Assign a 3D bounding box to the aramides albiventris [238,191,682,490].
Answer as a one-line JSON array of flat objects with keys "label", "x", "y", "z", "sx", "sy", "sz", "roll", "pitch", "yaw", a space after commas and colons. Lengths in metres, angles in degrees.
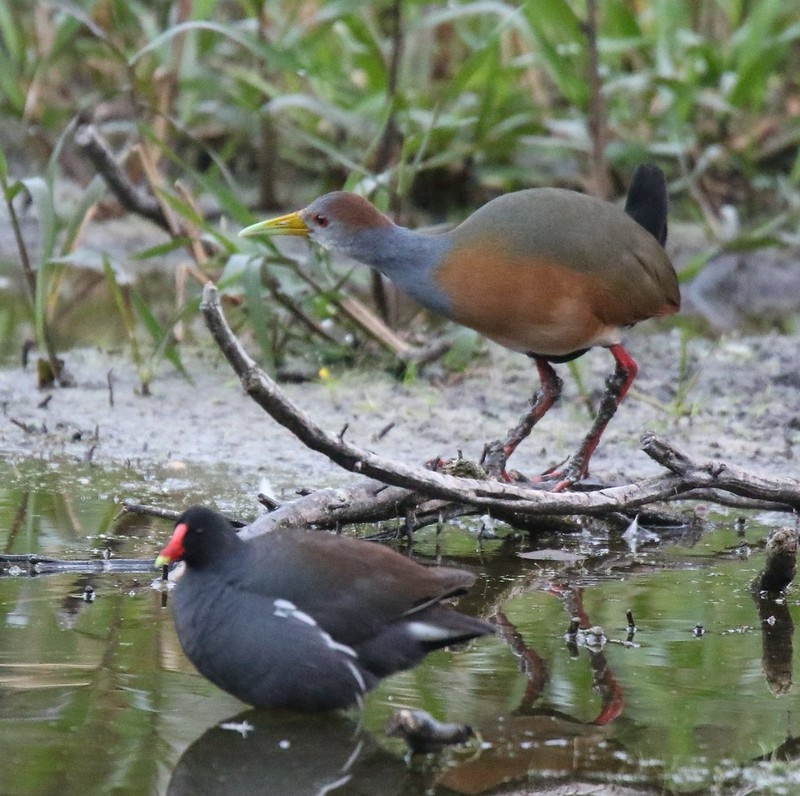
[{"label": "aramides albiventris", "x": 0.318, "y": -0.271, "z": 4.317, "sx": 1.954, "sy": 1.163, "sz": 0.622, "roll": -12, "pitch": 22, "yaw": -30}]
